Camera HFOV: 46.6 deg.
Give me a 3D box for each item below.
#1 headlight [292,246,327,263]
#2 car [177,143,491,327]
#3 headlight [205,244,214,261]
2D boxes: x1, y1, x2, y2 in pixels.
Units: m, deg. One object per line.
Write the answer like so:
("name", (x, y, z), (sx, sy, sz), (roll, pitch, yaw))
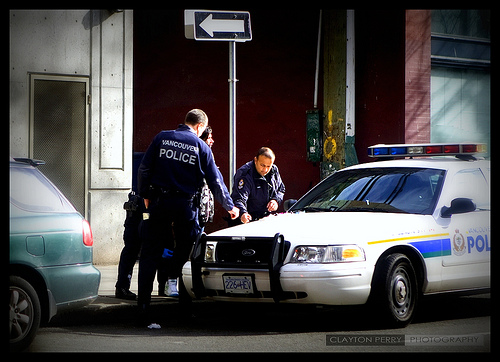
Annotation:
("headlight", (0.655, 0.805, 6.450), (0.356, 0.170, 0.086), (2, 0, 3))
("car", (1.219, 0.470, 7.035), (4.129, 1.540, 2.020), (7, -8, -43))
("headlight", (-0.474, 0.836, 6.874), (0.057, 0.185, 0.157), (2, 0, -40))
